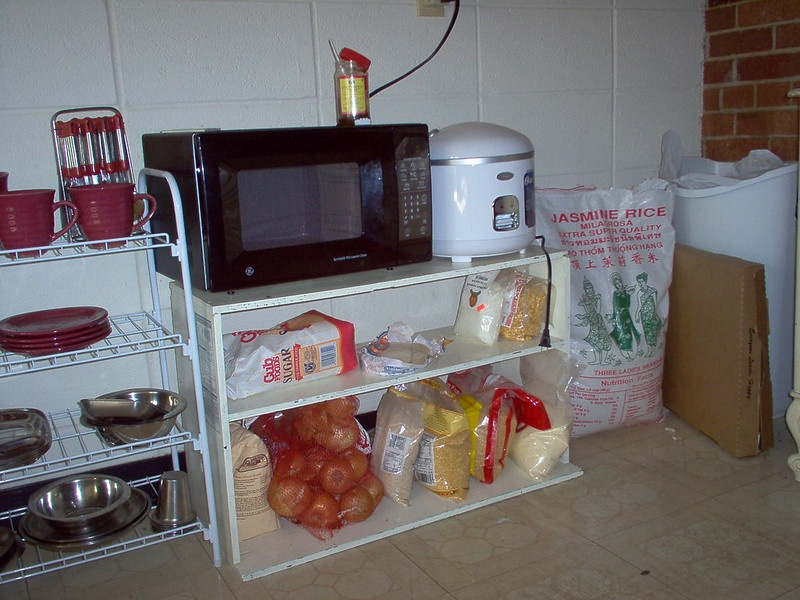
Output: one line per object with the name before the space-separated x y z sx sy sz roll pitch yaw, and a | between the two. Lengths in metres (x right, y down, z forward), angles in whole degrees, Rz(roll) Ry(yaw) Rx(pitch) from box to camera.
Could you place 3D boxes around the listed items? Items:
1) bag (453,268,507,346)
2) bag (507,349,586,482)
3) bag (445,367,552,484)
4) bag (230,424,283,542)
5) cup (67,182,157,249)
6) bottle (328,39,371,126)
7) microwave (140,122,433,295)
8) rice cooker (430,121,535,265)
bag | 0.266 0.027 1.962 0.103 0.296 0.220 14 -6 -36
bag | 0.531 0.308 2.110 0.127 0.350 0.436 19 -2 0
bag | 0.316 0.425 1.941 0.118 0.305 0.304 22 5 -31
bag | -0.401 0.534 1.696 0.122 0.346 0.234 -10 19 -24
cup | -0.705 -0.215 1.541 0.204 0.143 0.145 -12 23 -36
bottle | -0.141 -0.639 1.792 0.104 0.228 0.215 -6 15 -5
microwave | -0.321 -0.165 1.687 0.693 0.427 0.478 -12 17 -33
rice cooker | 0.237 -0.369 1.851 0.359 0.383 0.377 -22 28 -38
